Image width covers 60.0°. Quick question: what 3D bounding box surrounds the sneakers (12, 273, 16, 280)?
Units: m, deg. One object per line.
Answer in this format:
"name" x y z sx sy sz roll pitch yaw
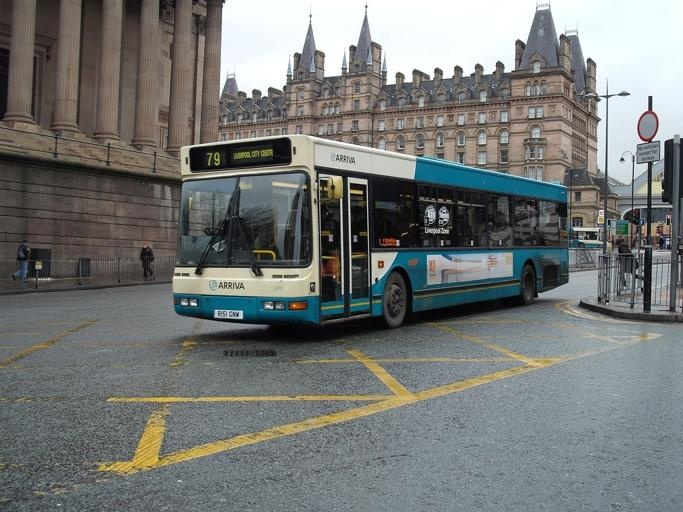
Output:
"sneakers" -14.424 0.870 25.943 0.127 0.290 0.217 -2 1 -37

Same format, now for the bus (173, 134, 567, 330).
"bus" 2.381 -0.517 15.866 3.703 3.835 13.681 -1 -3 39

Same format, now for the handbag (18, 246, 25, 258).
"handbag" -14.115 -0.154 25.973 0.354 0.583 0.266 -1 1 -2
